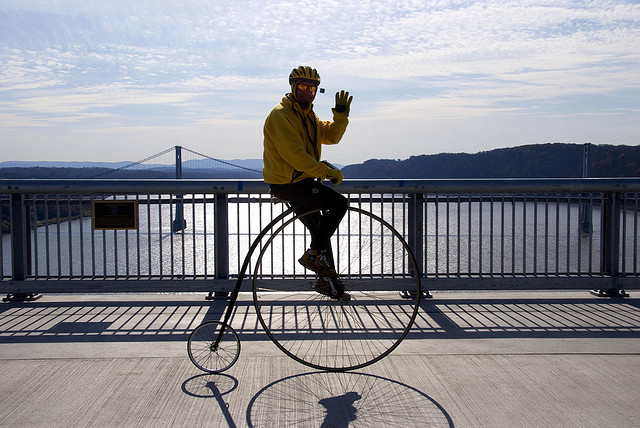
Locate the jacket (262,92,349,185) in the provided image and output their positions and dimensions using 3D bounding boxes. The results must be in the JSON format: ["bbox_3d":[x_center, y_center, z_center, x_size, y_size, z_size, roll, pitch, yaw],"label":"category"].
[{"bbox_3d":[-0.160,-0.764,6.818,1.106,0.804,0.711,-4,14,12],"label":"jacket"}]

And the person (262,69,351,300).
[{"bbox_3d":[-0.100,-0.337,6.644,0.932,2.134,1.177,-2,-25,-4],"label":"person"}]
